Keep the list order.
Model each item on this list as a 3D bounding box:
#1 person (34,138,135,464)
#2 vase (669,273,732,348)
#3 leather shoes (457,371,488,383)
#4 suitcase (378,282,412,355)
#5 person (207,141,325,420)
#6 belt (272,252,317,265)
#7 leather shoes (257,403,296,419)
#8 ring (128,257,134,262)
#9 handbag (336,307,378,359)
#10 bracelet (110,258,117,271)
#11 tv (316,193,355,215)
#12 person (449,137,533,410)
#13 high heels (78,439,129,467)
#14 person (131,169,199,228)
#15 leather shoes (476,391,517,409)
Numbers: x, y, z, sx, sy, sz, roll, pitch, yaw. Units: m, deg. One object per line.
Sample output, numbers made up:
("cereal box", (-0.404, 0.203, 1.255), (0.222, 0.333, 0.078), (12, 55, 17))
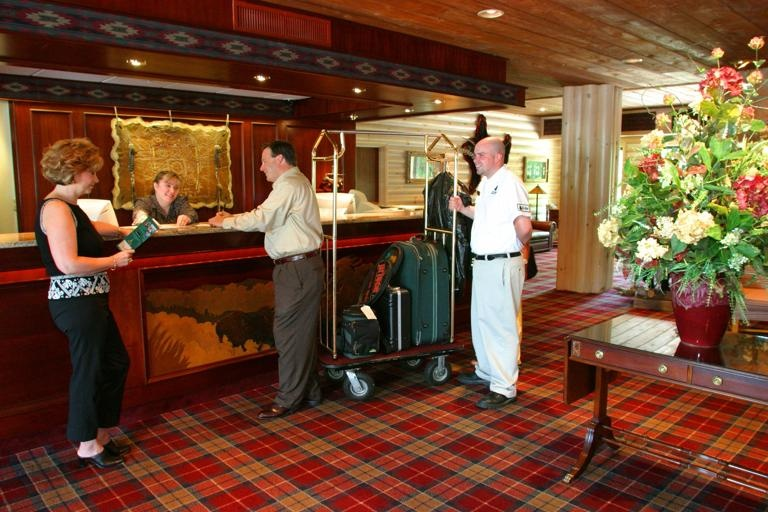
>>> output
("person", (-2.221, 0.374, 3.891), (0.611, 2.473, 0.637), (-8, 18, -24))
("vase", (2.262, 0.374, 3.525), (0.519, 0.455, 0.456), (2, -4, -14))
("leather shoes", (0.907, 1.247, 5.217), (0.333, 0.110, 0.112), (6, 6, 16))
("suitcase", (0.125, 0.613, 4.931), (0.296, 0.586, 0.244), (-6, 17, -18))
("person", (-0.918, 0.209, 4.601), (0.823, 2.427, 0.736), (-5, 17, -14))
("belt", (-0.775, 0.016, 4.595), (0.401, 0.116, 0.128), (-1, 14, -5))
("leather shoes", (-0.967, 1.396, 4.631), (0.331, 0.115, 0.128), (4, -4, -26))
("ring", (-1.999, 0.028, 4.045), (0.012, 0.036, 0.044), (10, -11, -42))
("handbag", (-0.208, 0.713, 4.823), (0.541, 0.432, 0.385), (-3, 9, -17))
("bracelet", (-2.031, 0.058, 3.852), (0.081, 0.086, 0.027), (-7, -13, 31))
("tv", (-0.625, -0.683, 6.584), (0.466, 0.171, 0.427), (0, 2, 19))
("person", (1.049, 0.152, 4.770), (0.574, 2.458, 0.838), (-1, 16, 1))
("high heels", (-2.163, 1.544, 3.982), (0.298, 0.094, 0.160), (-2, 4, -9))
("person", (-2.461, -0.609, 5.819), (0.673, 0.604, 0.825), (2, 27, -22))
("leather shoes", (1.040, 1.357, 4.772), (0.373, 0.116, 0.131), (3, -5, -15))
